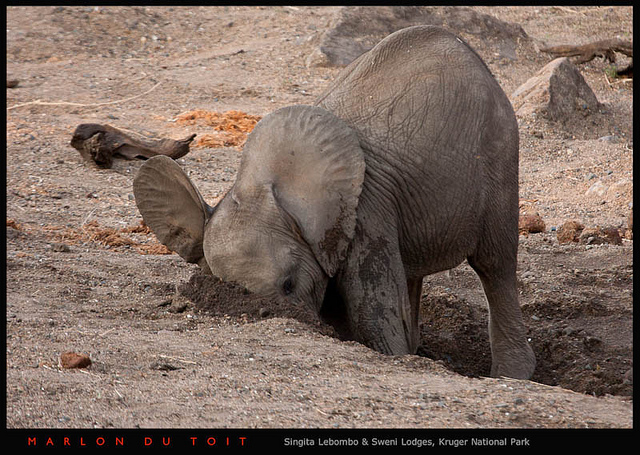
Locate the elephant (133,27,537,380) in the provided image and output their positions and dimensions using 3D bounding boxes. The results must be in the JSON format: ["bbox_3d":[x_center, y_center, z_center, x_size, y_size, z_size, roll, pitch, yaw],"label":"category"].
[{"bbox_3d":[-0.094,-0.110,11.097,3.360,3.867,3.957,4,20,24],"label":"elephant"}]
